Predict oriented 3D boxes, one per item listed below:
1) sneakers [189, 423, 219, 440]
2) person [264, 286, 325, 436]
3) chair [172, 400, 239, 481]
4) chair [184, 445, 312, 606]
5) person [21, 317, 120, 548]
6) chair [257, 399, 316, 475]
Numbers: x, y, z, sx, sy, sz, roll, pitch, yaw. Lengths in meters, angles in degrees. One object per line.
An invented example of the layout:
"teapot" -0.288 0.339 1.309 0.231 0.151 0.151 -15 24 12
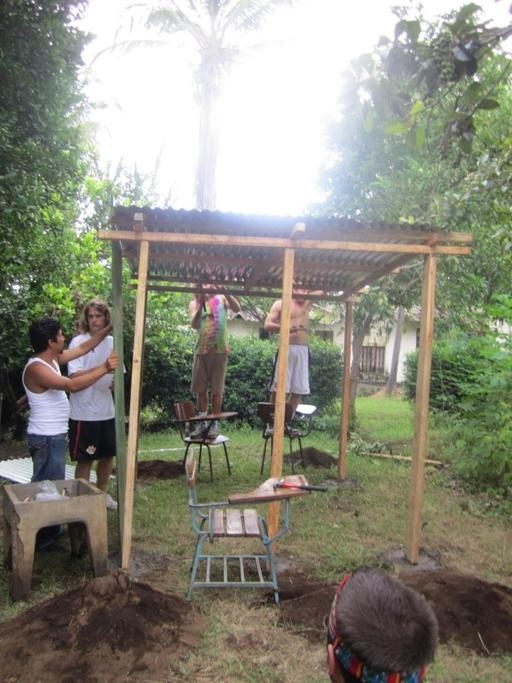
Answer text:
"sneakers" -0.565 0.978 6.289 0.343 0.182 0.142 4 -6 -12
"person" 0.494 0.053 6.644 0.654 2.060 0.609 5 16 10
"chair" -0.557 1.076 6.263 0.612 0.825 0.762 -1 0 -2
"chair" -0.131 1.156 3.707 0.883 1.192 0.712 0 1 -3
"person" -1.371 0.634 4.121 0.583 1.584 0.626 1 3 -28
"chair" 0.314 1.119 6.674 0.652 0.903 0.648 -1 2 22
